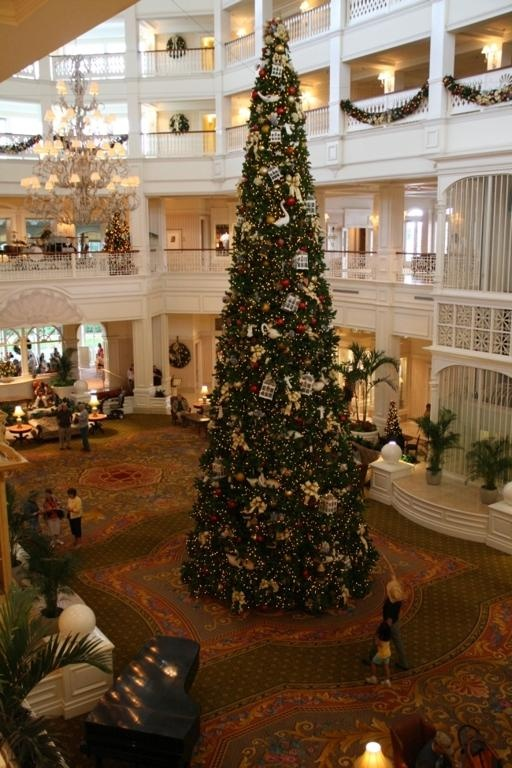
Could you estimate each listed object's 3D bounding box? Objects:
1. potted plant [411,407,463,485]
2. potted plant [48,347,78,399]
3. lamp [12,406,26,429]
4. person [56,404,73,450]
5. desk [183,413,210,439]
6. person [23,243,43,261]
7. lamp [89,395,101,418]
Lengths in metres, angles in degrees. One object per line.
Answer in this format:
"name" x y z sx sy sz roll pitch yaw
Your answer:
"potted plant" 3.633 1.215 10.666 0.760 1.480 0.858 4 8 26
"potted plant" -6.650 -0.430 18.573 0.897 1.529 2.412 -2 8 -20
"lamp" -6.762 0.970 15.269 0.348 0.596 0.343 -15 25 -39
"person" -5.237 1.125 14.608 0.304 1.248 0.753 -3 8 -23
"desk" -1.793 1.183 15.942 0.666 0.614 1.631 -3 9 -24
"person" -6.974 -4.100 16.816 0.553 0.612 1.548 -3 9 -23
"lamp" -5.054 0.712 16.760 0.382 0.619 0.398 -7 19 -20
